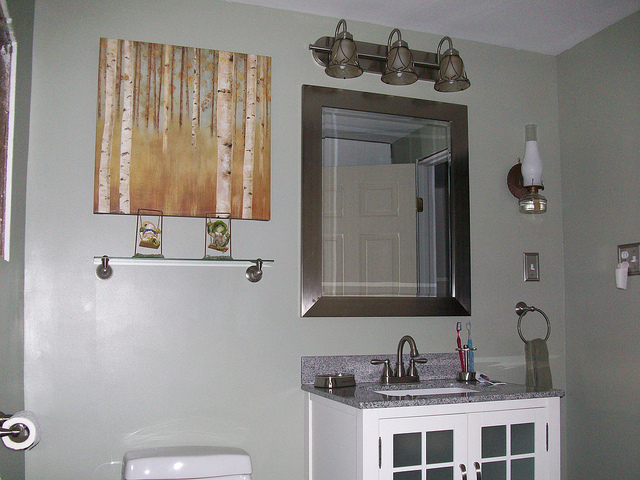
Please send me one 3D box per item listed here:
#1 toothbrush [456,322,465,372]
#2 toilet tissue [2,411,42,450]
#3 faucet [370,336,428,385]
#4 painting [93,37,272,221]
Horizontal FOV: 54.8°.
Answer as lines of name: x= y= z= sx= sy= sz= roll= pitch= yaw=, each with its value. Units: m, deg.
toothbrush: x=0.792 y=0.590 z=3.484 sx=0.029 sy=0.305 sz=0.013 roll=-3 pitch=-4 yaw=32
toilet tissue: x=-1.044 y=0.661 z=2.210 sx=0.121 sy=0.138 sz=0.044 roll=-4 pitch=4 yaw=-6
faucet: x=0.425 y=0.635 z=3.215 sx=0.287 sy=0.284 sz=0.242 roll=-3 pitch=1 yaw=6
painting: x=-0.752 y=-0.553 z=3.210 sx=0.848 sy=0.921 sz=0.012 roll=1 pitch=-3 yaw=-11
